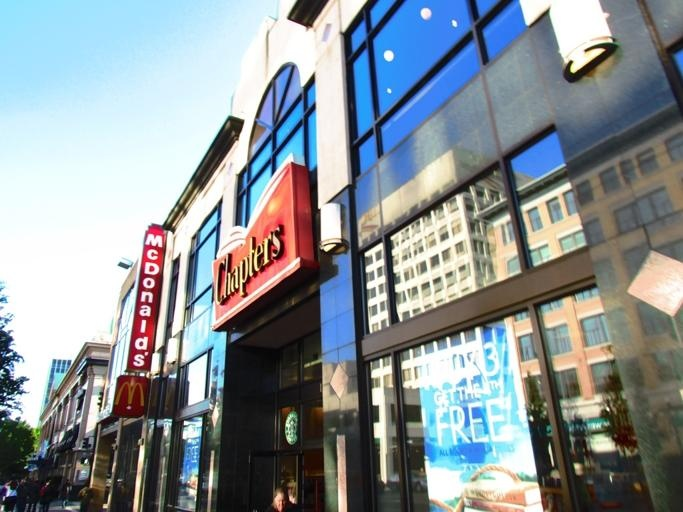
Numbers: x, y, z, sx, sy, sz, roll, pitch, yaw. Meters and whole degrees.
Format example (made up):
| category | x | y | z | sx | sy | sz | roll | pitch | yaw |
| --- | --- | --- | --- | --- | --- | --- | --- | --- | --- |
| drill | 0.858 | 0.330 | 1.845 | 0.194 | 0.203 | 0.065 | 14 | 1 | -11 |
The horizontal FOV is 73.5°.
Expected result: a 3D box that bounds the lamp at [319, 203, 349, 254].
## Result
| category | x | y | z | sx | sy | sz | roll | pitch | yaw |
| --- | --- | --- | --- | --- | --- | --- | --- | --- | --- |
| lamp | -0.146 | -0.594 | 9.695 | 0.579 | 0.910 | 0.605 | -7 | -17 | 11 |
